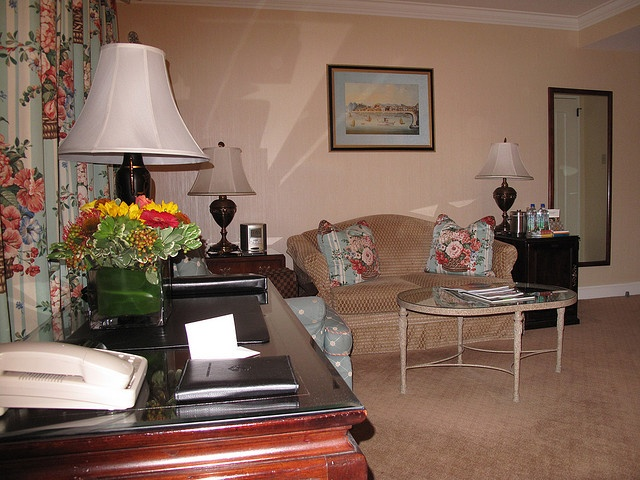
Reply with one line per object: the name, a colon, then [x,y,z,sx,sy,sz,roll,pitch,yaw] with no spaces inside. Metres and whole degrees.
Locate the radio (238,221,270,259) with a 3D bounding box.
radio: [-0.563,-0.004,4.175,0.226,0.245,0.233,2,8,16]

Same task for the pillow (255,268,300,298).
pillow: [-0.335,0.349,4.093,0.314,0.285,0.316,0,3,-17]

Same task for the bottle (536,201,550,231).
bottle: [2.044,-0.197,4.549,0.121,0.209,0.267,6,14,24]

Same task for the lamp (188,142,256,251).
lamp: [-0.800,-0.339,4.056,0.544,0.890,0.552,-3,4,-34]

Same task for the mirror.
mirror: [2.715,-0.629,5.184,0.765,1.822,0.336,-3,13,-12]

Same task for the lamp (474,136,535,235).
lamp: [1.716,-0.468,4.641,0.505,0.806,0.515,0,1,-21]

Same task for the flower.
flower: [-0.591,-0.009,1.511,0.301,0.179,0.293,-1,0,-11]

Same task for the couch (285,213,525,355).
couch: [0.686,0.315,4.138,1.795,1.036,0.933,-3,3,-11]

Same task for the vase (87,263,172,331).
vase: [-0.650,0.228,1.637,0.253,0.198,0.257,12,-34,-42]

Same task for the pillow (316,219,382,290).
pillow: [0.200,0.130,3.926,0.504,0.501,0.147,-7,-15,-39]

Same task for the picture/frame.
picture/frame: [0.524,-1.243,4.633,0.841,0.621,0.030,-2,8,-11]
